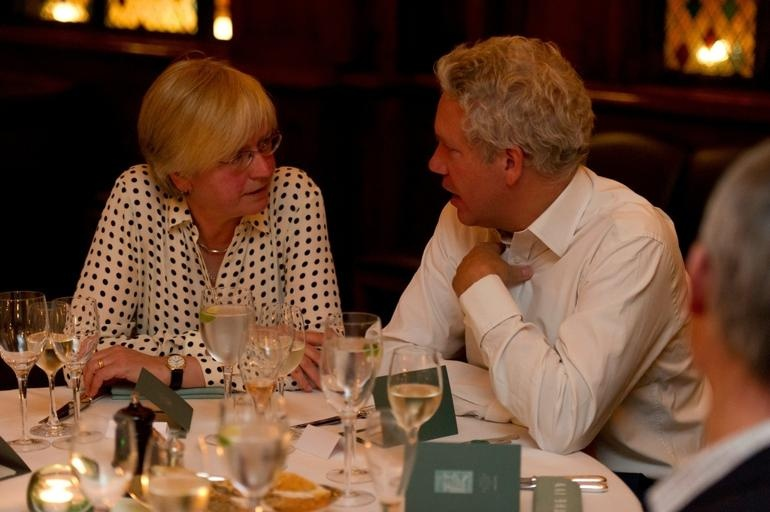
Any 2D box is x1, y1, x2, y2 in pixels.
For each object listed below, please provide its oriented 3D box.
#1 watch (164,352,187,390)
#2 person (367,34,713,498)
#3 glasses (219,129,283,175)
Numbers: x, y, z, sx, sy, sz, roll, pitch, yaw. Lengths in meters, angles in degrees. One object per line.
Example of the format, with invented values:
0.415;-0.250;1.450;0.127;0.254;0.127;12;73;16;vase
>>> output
-0.574;0.321;2.004;0.051;0.084;0.086;4;34;-6;watch
0.575;0.028;2.929;1.113;2.336;1.250;-3;6;-11;person
-0.429;-0.347;2.354;0.214;0.146;0.055;-4;10;-43;glasses
